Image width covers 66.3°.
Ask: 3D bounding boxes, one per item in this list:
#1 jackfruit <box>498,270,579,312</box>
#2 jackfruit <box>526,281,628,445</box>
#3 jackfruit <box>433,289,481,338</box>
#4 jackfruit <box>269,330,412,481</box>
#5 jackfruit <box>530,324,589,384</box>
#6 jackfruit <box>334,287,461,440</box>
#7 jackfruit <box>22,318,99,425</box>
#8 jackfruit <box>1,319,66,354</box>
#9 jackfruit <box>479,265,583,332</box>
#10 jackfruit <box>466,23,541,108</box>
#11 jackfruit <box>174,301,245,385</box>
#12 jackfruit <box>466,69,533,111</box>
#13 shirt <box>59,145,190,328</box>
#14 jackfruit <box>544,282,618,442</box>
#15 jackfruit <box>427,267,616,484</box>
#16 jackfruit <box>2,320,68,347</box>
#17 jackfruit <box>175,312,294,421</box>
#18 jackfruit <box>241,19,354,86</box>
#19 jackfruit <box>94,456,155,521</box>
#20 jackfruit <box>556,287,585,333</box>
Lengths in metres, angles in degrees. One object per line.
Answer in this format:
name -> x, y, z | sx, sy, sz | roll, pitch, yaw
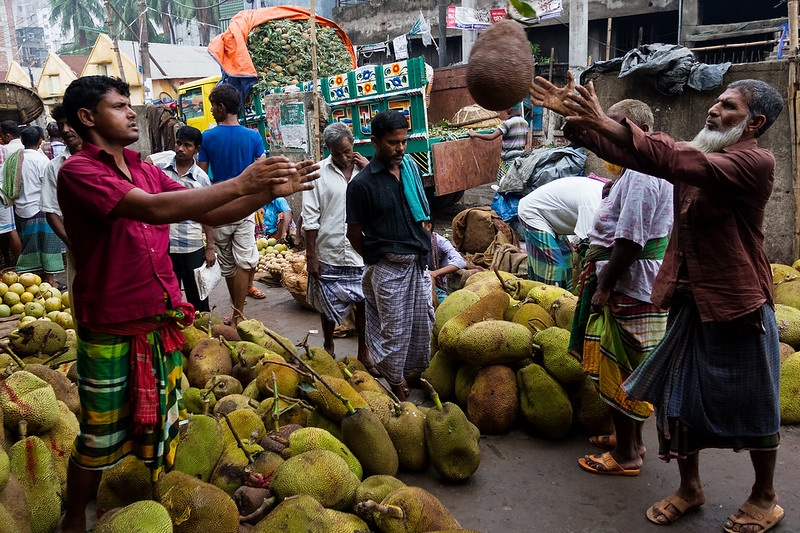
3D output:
jackfruit -> 1.268, 0.239, 5.930 | 0.571, 0.262, 0.390 | 14, 7, 40
jackfruit -> 1.351, 0.767, 5.093 | 0.552, 0.498, 1.093 | -9, 60, -34
jackfruit -> 0.498, 0.379, 5.743 | 0.437, 0.242, 0.330 | -44, 20, -14
jackfruit -> -0.420, 1.039, 4.458 | 0.221, 1.036, 0.253 | -39, 6, 26
jackfruit -> 1.239, 0.716, 4.904 | 0.330, 0.236, 0.433 | -16, 56, -31
jackfruit -> 0.009, 0.795, 4.942 | 0.705, 0.944, 0.424 | 6, 7, -2
jackfruit -> -2.350, 0.747, 4.209 | 0.363, 0.715, 0.263 | -5, 11, 16
jackfruit -> -3.031, 0.597, 5.105 | 0.372, 0.232, 0.266 | 8, -12, -42
jackfruit -> 1.257, 0.296, 5.767 | 0.609, 0.189, 0.629 | 18, 12, 31
jackfruit -> 0.569, -1.143, 3.473 | 0.388, 0.493, 0.287 | -3, 16, 6
jackfruit -> -1.666, 0.708, 5.369 | 0.374, 0.352, 0.752 | 8, 33, -12
jackfruit -> 0.551, -1.017, 3.432 | 0.250, 0.175, 0.258 | 9, 23, 25
shirt -> -1.641, -0.160, 3.530 | 0.571, 0.954, 0.345 | -13, 18, -26
jackfruit -> 1.467, 0.806, 4.935 | 0.515, 0.972, 0.410 | -24, 11, 2
jackfruit -> 0.884, 0.709, 5.277 | 1.082, 1.451, 0.699 | -12, -13, -5
jackfruit -> -3.031, 0.585, 5.102 | 0.218, 0.217, 0.361 | -29, -14, 35
jackfruit -> -1.397, 0.803, 5.066 | 0.737, 0.295, 0.758 | 12, 10, 34
jackfruit -> -1.889, -3.730, 10.724 | 1.598, 0.627, 1.602 | -8, 42, -13
jackfruit -> -1.642, 1.328, 3.671 | 0.268, 0.319, 0.338 | 14, 60, 12
jackfruit -> 1.495, 0.404, 5.420 | 0.203, 0.204, 0.277 | 6, -10, 1
